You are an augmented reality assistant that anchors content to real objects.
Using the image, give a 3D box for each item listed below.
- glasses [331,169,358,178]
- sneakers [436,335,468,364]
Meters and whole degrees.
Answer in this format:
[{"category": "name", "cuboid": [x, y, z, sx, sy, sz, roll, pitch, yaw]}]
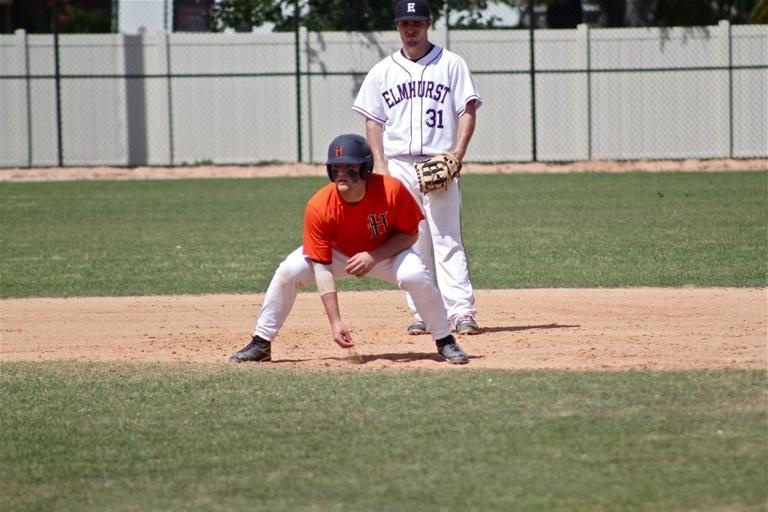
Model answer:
[{"category": "glasses", "cuboid": [-0.590, -1.222, 23.670, 0.381, 0.128, 0.076, -1, 6, -6]}, {"category": "sneakers", "cuboid": [1.026, 1.451, 24.156, 0.284, 0.274, 0.609, -16, 18, -26]}]
